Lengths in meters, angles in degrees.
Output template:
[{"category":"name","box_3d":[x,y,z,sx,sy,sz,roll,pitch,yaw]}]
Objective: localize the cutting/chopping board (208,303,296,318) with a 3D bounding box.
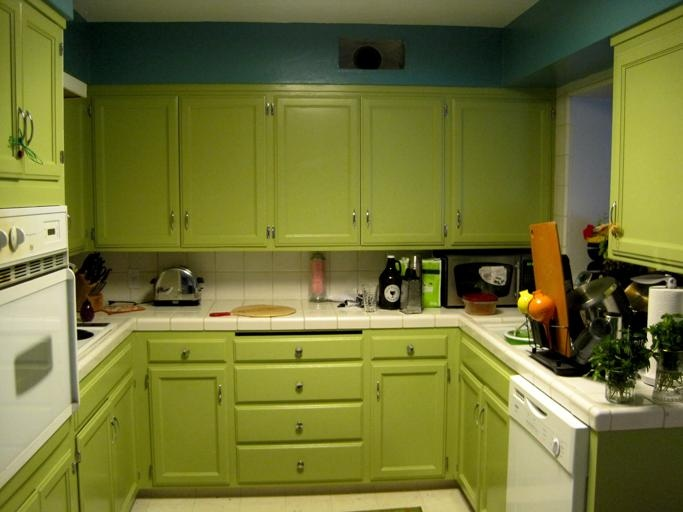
[{"category":"cutting/chopping board","box_3d":[-0.548,0.333,3.527,0.518,0.035,0.360,-1,12,-2]}]

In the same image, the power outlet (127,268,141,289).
[{"category":"power outlet","box_3d":[-1.405,0.138,3.800,0.120,0.180,0.018,0,5,-2]}]

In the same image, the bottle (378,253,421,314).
[{"category":"bottle","box_3d":[0.368,0.140,3.534,0.211,0.379,0.198,3,9,0]}]

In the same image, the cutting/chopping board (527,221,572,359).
[{"category":"cutting/chopping board","box_3d":[0.953,0.135,2.601,0.094,0.604,0.265,-4,11,-18]}]

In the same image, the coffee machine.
[{"category":"coffee machine","box_3d":[1.279,0.247,2.583,0.251,0.636,0.459,3,8,2]}]

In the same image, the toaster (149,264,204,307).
[{"category":"toaster","box_3d":[-1.100,0.192,3.743,0.304,0.246,0.287,1,4,4]}]

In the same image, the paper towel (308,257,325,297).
[{"category":"paper towel","box_3d":[-0.166,0.136,3.825,0.113,0.306,0.112,-2,11,-5]}]

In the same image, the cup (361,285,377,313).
[{"category":"cup","box_3d":[0.175,0.245,3.574,0.095,0.170,0.221,0,11,3]}]

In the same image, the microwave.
[{"category":"microwave","box_3d":[0.904,0.121,3.591,0.496,0.347,0.329,0,1,-6]}]
